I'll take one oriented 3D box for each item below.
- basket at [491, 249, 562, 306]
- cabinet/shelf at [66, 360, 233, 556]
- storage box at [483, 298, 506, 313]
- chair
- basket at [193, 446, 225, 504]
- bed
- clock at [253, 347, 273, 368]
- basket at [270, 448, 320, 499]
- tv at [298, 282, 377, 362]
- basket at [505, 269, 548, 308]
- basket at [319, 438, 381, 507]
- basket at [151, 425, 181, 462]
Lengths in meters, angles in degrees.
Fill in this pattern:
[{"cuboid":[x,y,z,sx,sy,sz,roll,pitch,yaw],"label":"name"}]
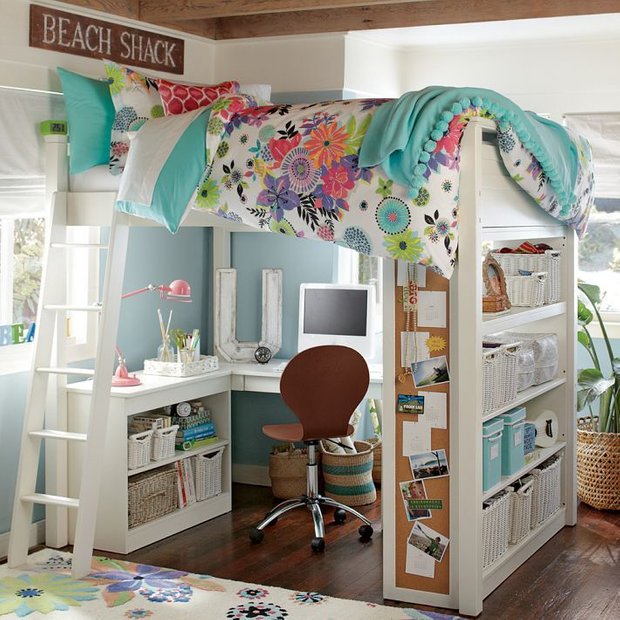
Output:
[{"cuboid":[1.142,-0.160,3.158,0.260,0.253,0.367,0,1,36],"label":"basket"},{"cuboid":[-0.829,0.753,3.055,0.435,0.834,1.034,0,2,23],"label":"cabinet/shelf"},{"cuboid":[0.787,-0.019,2.610,0.069,0.035,0.089,-1,2,2],"label":"storage box"},{"cuboid":[0.027,0.678,3.213,0.620,0.979,0.613,0,-3,4],"label":"chair"},{"cuboid":[-0.573,0.944,3.474,0.236,0.249,0.226,0,6,13],"label":"basket"},{"cuboid":[-0.052,-0.568,2.458,1.754,0.693,1.192,3,8,24],"label":"bed"},{"cuboid":[-0.297,0.293,3.871,0.102,0.107,0.037,-4,-8,-7],"label":"clock"},{"cuboid":[-0.088,0.999,3.822,0.290,0.238,0.295,4,6,41],"label":"basket"},{"cuboid":[0.163,0.076,3.612,0.502,0.460,0.159,3,-1,15],"label":"tv"},{"cuboid":[1.099,-0.107,3.058,0.202,0.185,0.196,1,4,23],"label":"basket"},{"cuboid":[0.247,0.978,3.756,0.356,0.316,0.325,-2,2,-14],"label":"basket"},{"cuboid":[-0.742,0.674,3.184,0.151,0.169,0.203,-1,-2,22],"label":"basket"}]
